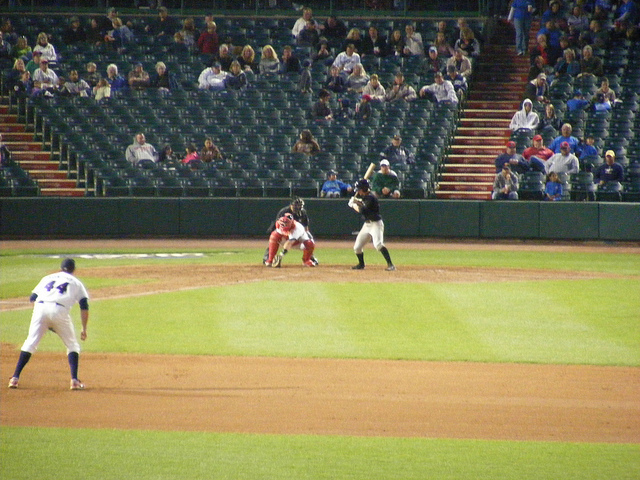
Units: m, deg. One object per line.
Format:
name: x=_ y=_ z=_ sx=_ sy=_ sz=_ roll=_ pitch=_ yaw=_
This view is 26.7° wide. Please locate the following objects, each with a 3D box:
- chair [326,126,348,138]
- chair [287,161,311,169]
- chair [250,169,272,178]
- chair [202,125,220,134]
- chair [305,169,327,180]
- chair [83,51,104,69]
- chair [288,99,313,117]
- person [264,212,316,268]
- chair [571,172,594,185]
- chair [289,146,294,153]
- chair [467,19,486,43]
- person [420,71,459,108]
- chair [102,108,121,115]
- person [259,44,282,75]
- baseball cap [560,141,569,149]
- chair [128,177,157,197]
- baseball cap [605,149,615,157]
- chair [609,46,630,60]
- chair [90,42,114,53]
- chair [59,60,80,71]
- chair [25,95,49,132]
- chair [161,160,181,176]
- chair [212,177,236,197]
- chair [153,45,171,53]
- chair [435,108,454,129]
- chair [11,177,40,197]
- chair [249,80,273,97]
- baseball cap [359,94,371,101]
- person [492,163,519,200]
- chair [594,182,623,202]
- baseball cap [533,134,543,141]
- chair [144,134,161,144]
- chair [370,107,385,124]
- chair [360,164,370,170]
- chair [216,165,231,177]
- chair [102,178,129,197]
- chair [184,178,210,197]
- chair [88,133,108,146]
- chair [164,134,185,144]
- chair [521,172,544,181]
chair: x=0.593 y=-3.762 z=46.252 sx=0.459 sy=0.576 sz=0.491 roll=-1 pitch=7 yaw=-15
chair: x=-0.733 y=-2.551 z=45.326 sx=0.554 sy=0.279 sz=0.132 roll=2 pitch=1 yaw=6
chair: x=-1.994 y=-2.252 z=45.159 sx=0.737 sy=0.263 sz=0.188 roll=1 pitch=3 yaw=-6
chair: x=-3.771 y=-3.814 z=46.281 sx=0.579 sy=0.307 sz=0.246 roll=1 pitch=3 yaw=-8
chair: x=-0.138 y=-2.231 z=45.115 sx=0.740 sy=0.331 sz=0.258 roll=1 pitch=3 yaw=0
chair: x=-8.186 y=-6.459 z=48.425 sx=0.694 sy=0.628 sz=0.700 roll=-7 pitch=-30 yaw=-15
chair: x=-0.692 y=-4.607 z=46.928 sx=0.856 sy=0.620 sz=0.506 roll=1 pitch=3 yaw=-3
person: x=-0.789 y=-0.288 z=37.930 sx=1.170 sy=1.641 sz=1.421 roll=0 pitch=-32 yaw=4
chair: x=8.631 y=-2.028 z=43.845 sx=0.425 sy=0.308 sz=0.437 roll=3 pitch=5 yaw=22
chair: x=-0.999 y=-3.109 z=45.728 sx=0.151 sy=0.287 sz=0.153 roll=1 pitch=0 yaw=9
chair: x=5.837 y=-7.743 z=49.931 sx=0.663 sy=0.934 sz=1.270 roll=2 pitch=3 yaw=6
person: x=4.139 y=-5.021 z=46.635 sx=1.037 sy=1.389 sz=0.815 roll=-9 pitch=-3 yaw=28
chair: x=-7.231 y=-4.445 z=46.418 sx=0.605 sy=0.226 sz=0.162 roll=1 pitch=3 yaw=-4
person: x=-1.861 y=-6.321 z=47.747 sx=0.731 sy=1.166 sz=0.721 roll=2 pitch=28 yaw=9
baseball cap: x=7.967 y=-3.089 z=43.665 sx=0.257 sy=0.200 sz=0.378 roll=1 pitch=-2 yaw=13
chair: x=-5.883 y=-1.781 z=44.268 sx=0.704 sy=0.428 sz=0.718 roll=1 pitch=3 yaw=1
baseball cap: x=9.413 y=-2.835 z=43.471 sx=0.241 sy=0.149 sz=0.392 roll=2 pitch=-1 yaw=13
chair: x=10.811 y=-6.705 z=48.393 sx=0.502 sy=0.322 sz=0.517 roll=3 pitch=3 yaw=16
chair: x=-7.958 y=-6.945 z=48.783 sx=0.830 sy=0.393 sz=0.329 roll=1 pitch=3 yaw=-11
chair: x=-8.977 y=-6.167 z=47.812 sx=0.767 sy=0.362 sz=0.446 roll=2 pitch=3 yaw=2
chair: x=-9.659 y=-4.343 z=46.530 sx=0.949 sy=1.393 sz=0.928 roll=2 pitch=7 yaw=-22
chair: x=-4.995 y=-2.441 z=44.923 sx=0.491 sy=0.649 sz=0.521 roll=0 pitch=4 yaw=-4
chair: x=-3.184 y=-1.778 z=44.436 sx=0.764 sy=0.622 sz=1.020 roll=1 pitch=3 yaw=-5
chair: x=-5.751 y=-6.940 z=48.910 sx=0.580 sy=0.278 sz=0.409 roll=1 pitch=3 yaw=-12
chair: x=4.318 y=-4.189 z=46.343 sx=0.607 sy=0.632 sz=0.644 roll=2 pitch=4 yaw=0
chair: x=-9.631 y=-1.746 z=43.753 sx=0.702 sy=0.469 sz=0.741 roll=1 pitch=-1 yaw=6
chair: x=-2.096 y=-5.328 z=47.504 sx=0.566 sy=0.673 sz=0.519 roll=0 pitch=9 yaw=4
baseball cap: x=1.563 y=-4.897 z=46.257 sx=0.263 sy=0.223 sz=0.529 roll=2 pitch=3 yaw=9
person: x=6.099 y=-1.914 z=43.746 sx=0.882 sy=1.133 sz=0.799 roll=1 pitch=3 yaw=-2
chair: x=9.451 y=-1.571 z=43.890 sx=0.663 sy=0.788 sz=0.681 roll=0 pitch=0 yaw=13
baseball cap: x=7.216 y=-3.391 z=44.448 sx=0.291 sy=0.162 sz=0.411 roll=0 pitch=0 yaw=-7
chair: x=-5.724 y=-3.452 z=45.834 sx=0.534 sy=0.319 sz=0.295 roll=1 pitch=3 yaw=-9
chair: x=2.032 y=-4.301 z=46.617 sx=0.429 sy=0.495 sz=0.499 roll=0 pitch=-4 yaw=27
chair: x=1.497 y=-2.442 z=45.296 sx=0.307 sy=0.213 sz=0.159 roll=-2 pitch=-1 yaw=1
chair: x=-3.287 y=-2.346 z=45.155 sx=0.572 sy=0.567 sz=0.317 roll=0 pitch=-5 yaw=-7
chair: x=-6.772 y=-1.753 z=44.283 sx=0.689 sy=0.354 sz=0.705 roll=1 pitch=12 yaw=0
chair: x=-4.081 y=-1.762 z=44.342 sx=0.819 sy=0.602 sz=0.960 roll=1 pitch=3 yaw=-7
chair: x=-7.553 y=-3.436 z=45.521 sx=0.650 sy=0.389 sz=0.271 roll=1 pitch=3 yaw=-12
chair: x=-4.981 y=-3.450 z=45.793 sx=0.683 sy=0.326 sz=0.339 roll=1 pitch=3 yaw=-7
chair: x=7.022 y=-2.127 z=44.143 sx=0.686 sy=0.242 sz=0.151 roll=2 pitch=3 yaw=0
